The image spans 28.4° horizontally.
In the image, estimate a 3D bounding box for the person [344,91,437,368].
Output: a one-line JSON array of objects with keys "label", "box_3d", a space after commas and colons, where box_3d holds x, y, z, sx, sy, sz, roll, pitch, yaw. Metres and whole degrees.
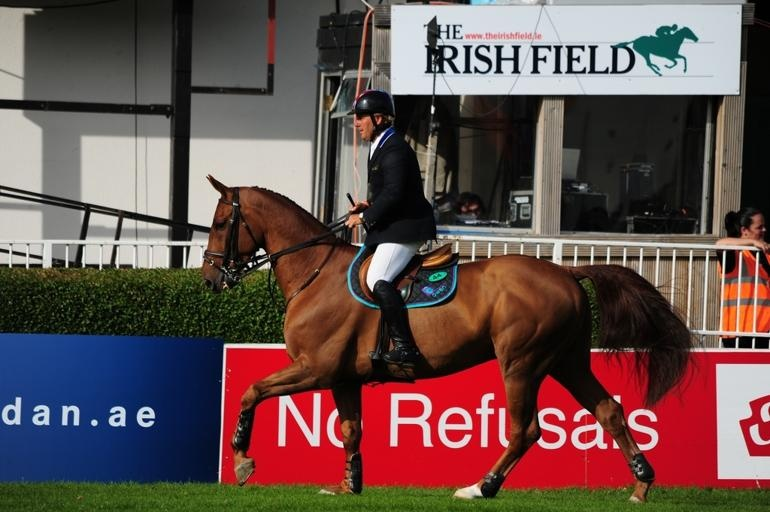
[{"label": "person", "box_3d": [0.060, -0.367, 18.725, 1.006, 3.403, 0.372, 1, -4, -2]}]

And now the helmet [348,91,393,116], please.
[{"label": "helmet", "box_3d": [-0.162, -1.888, 18.817, 0.380, 0.241, 0.291, 3, -2, -15]}]

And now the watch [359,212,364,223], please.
[{"label": "watch", "box_3d": [-0.308, -0.481, 18.687, 0.092, 0.108, 0.104, 4, 4, 18]}]
